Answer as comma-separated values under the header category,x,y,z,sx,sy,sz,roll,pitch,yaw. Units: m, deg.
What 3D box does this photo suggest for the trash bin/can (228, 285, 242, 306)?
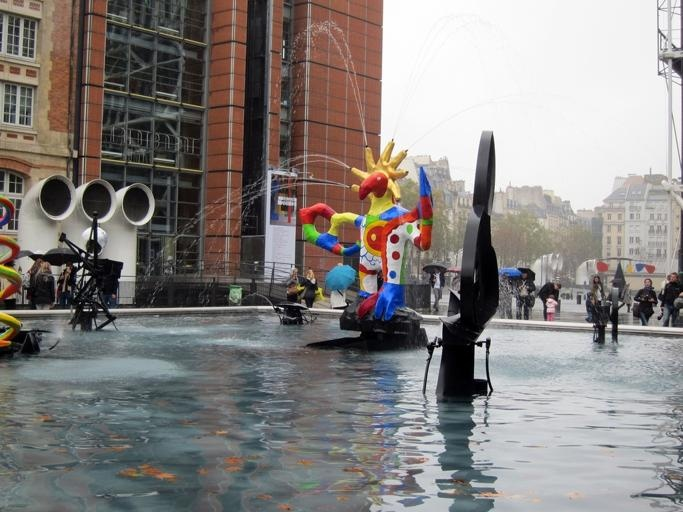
category,x,y,z,sx,sy,sz,roll,pitch,yaw
trash bin/can,-3.701,1.361,31.237,0.401,0.682,1.054,2,-2,-8

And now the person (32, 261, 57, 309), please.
category,x,y,z,sx,sy,sz,roll,pitch,yaw
person,-8.502,0.856,25.467,0.805,1.440,0.482,-2,25,-19

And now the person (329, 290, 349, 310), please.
category,x,y,z,sx,sy,sz,roll,pitch,yaw
person,-0.117,1.366,29.426,0.698,0.699,0.795,2,34,-4

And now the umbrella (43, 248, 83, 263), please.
category,x,y,z,sx,sy,sz,roll,pitch,yaw
umbrella,-7.591,0.017,24.227,0.865,0.247,0.781,-1,-19,2

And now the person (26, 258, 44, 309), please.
category,x,y,z,sx,sy,sz,roll,pitch,yaw
person,-8.675,0.773,25.338,0.332,1.398,0.804,3,-3,-24

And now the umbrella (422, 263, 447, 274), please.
category,x,y,z,sx,sy,sz,roll,pitch,yaw
umbrella,3.806,0.469,36.714,0.926,0.347,1.386,1,-2,2

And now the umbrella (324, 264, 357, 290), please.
category,x,y,z,sx,sy,sz,roll,pitch,yaw
umbrella,0.010,0.507,21.883,0.718,0.627,0.594,-10,-11,23
